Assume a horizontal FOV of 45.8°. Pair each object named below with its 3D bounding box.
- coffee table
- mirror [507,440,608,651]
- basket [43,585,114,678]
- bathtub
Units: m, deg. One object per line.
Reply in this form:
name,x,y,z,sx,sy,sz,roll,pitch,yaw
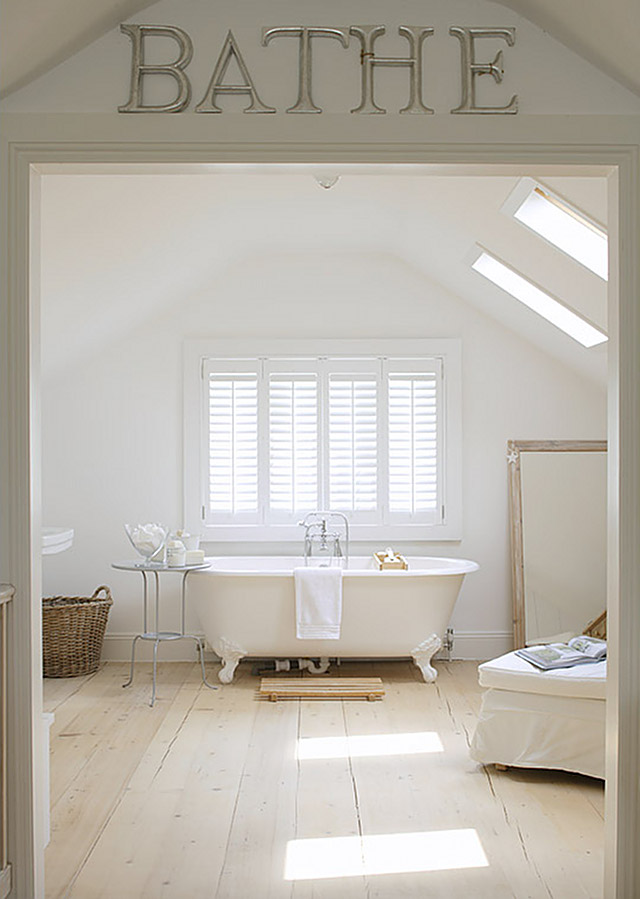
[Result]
coffee table,-0.841,0.974,4.337,0.668,0.810,0.649,-1,-1,40
mirror,1.411,0.542,4.464,0.545,0.924,0.355,-2,1,20
basket,-1.362,1.039,4.320,0.419,0.408,0.448,0,-7,-37
bathtub,0.057,0.949,4.246,1.516,0.594,0.632,-2,1,-8
